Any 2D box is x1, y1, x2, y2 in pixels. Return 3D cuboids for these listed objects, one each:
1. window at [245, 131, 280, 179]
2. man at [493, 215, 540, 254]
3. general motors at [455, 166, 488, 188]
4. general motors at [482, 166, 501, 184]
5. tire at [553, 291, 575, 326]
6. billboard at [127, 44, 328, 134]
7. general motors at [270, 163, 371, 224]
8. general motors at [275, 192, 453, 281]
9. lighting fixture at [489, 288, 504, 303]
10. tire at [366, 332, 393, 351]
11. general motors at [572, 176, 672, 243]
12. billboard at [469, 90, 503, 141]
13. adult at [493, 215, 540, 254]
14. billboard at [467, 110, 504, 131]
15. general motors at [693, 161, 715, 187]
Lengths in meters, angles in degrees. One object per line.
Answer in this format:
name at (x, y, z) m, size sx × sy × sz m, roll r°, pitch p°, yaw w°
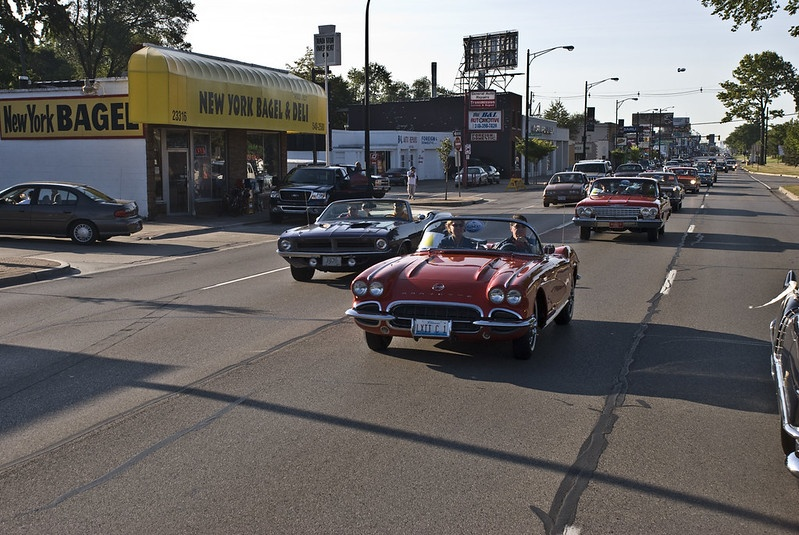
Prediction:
window at (-7.562, -6.026, 35.670) m, size 0.134 × 2.941 × 2.762 m, roll 4°, pitch 9°, yaw 30°
man at (1.835, -0.470, 9.949) m, size 0.417 × 0.638 × 0.323 m, roll 0°, pitch 17°, yaw 10°
general motors at (6.888, -9.202, 62.677) m, size 2.391 × 2.070 × 5.928 m, roll 0°, pitch 4°, yaw 16°
general motors at (10.086, -10.052, 70.314) m, size 1.398 × 1.168 × 3.262 m, roll -1°, pitch 2°, yaw 7°
tire at (2.595, 0.663, 10.269) m, size 0.192 × 0.602 × 0.560 m, roll -1°, pitch -2°, yaw 33°
billboard at (-7.573, -8.598, 31.971) m, size 1.731 × 3.412 × 13.646 m, roll 6°, pitch 11°, yaw 22°
general motors at (-3.657, -3.281, 28.123) m, size 2.614 × 1.724 × 4.477 m, roll 2°, pitch 7°, yaw 23°
general motors at (-0.633, -0.831, 15.000) m, size 1.797 × 1.255 × 3.729 m, roll 0°, pitch 7°, yaw 21°
lighting fixture at (1.238, 0.373, 8.284) m, size 0.159 × 0.176 × 0.175 m, roll 3°, pitch 29°, yaw 4°
tire at (-0.297, 1.043, 9.082) m, size 0.130 × 0.348 × 0.324 m, roll 2°, pitch 0°, yaw 32°
general motors at (7.276, -1.901, 21.127) m, size 2.563 × 1.959 × 2.843 m, roll 5°, pitch 11°, yaw 28°
billboard at (9.267, -16.395, 71.046) m, size 3.988 × 6.269 × 0.688 m, roll 0°, pitch -12°, yaw 2°
adult at (1.854, -0.464, 9.971) m, size 0.417 × 0.638 × 0.323 m, roll 0°, pitch 17°, yaw 10°
billboard at (9.173, -16.046, 70.510) m, size 4.621 × 3.101 × 0.510 m, roll 1°, pitch -1°, yaw 20°
general motors at (27.347, -8.373, 57.966) m, size 2.012 × 1.901 × 5.030 m, roll 0°, pitch 6°, yaw 26°
